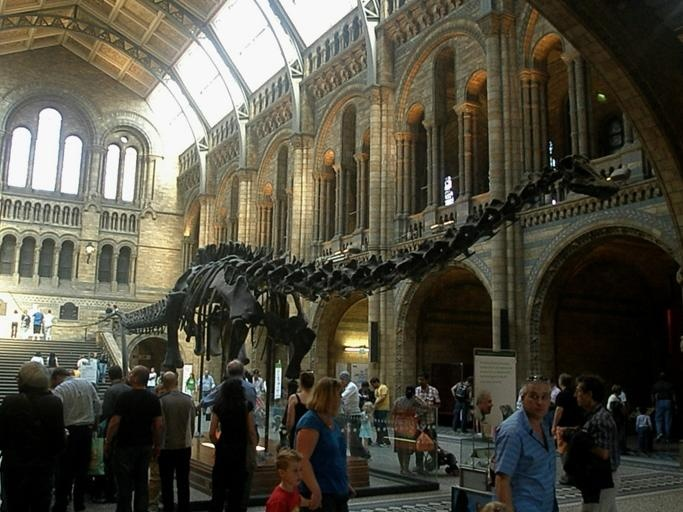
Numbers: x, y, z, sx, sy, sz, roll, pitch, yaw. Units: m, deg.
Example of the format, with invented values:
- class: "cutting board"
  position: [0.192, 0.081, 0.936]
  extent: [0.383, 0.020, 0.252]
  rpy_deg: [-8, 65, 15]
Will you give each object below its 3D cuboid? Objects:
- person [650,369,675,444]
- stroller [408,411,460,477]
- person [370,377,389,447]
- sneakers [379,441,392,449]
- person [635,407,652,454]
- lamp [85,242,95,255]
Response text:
- class: "person"
  position: [7.335, 3.461, 16.454]
  extent: [0.423, 1.576, 1.540]
  rpy_deg: [-4, -12, 23]
- class: "stroller"
  position: [1.491, 3.109, 11.743]
  extent: [0.961, 1.459, 0.820]
  rpy_deg: [-2, -11, 8]
- class: "person"
  position: [0.751, 3.231, 14.934]
  extent: [0.565, 1.405, 0.505]
  rpy_deg: [4, -11, -17]
- class: "sneakers"
  position: [0.707, 3.063, 11.688]
  extent: [0.192, 0.128, 0.074]
  rpy_deg: [0, -17, 19]
- class: "person"
  position: [6.543, 3.827, 15.606]
  extent: [0.294, 0.783, 0.645]
  rpy_deg: [-3, -12, 18]
- class: "lamp"
  position: [-12.650, -0.375, 35.943]
  extent: [0.501, 0.590, 0.492]
  rpy_deg: [-1, -16, -3]
